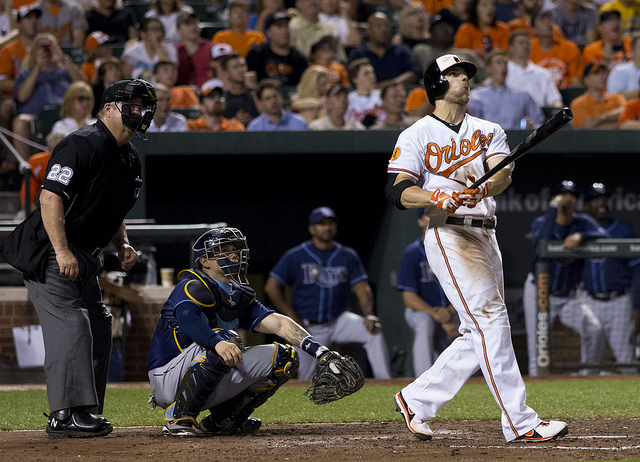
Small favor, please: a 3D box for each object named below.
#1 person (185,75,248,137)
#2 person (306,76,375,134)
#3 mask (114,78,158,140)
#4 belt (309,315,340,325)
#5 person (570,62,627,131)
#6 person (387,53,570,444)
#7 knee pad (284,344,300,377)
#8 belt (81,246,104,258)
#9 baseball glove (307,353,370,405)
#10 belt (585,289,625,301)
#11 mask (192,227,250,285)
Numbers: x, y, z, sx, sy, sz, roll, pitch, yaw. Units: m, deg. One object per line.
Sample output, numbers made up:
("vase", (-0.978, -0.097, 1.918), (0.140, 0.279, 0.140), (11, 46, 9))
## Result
("person", (-0.964, -1.197, 12.833), (0.759, 0.354, 0.302), (-3, -15, -8))
("person", (0.228, -1.210, 12.801), (0.334, 0.437, 0.753), (-1, 2, 42))
("mask", (-1.363, -0.927, 9.835), (0.285, 0.365, 0.064), (2, -4, -23))
("belt", (0.070, 0.895, 12.908), (0.272, 0.061, 0.048), (0, -4, -1))
("person", (3.154, -1.490, 14.513), (0.687, 0.809, 0.621), (1, -4, -17))
("person", (1.080, 0.113, 9.578), (1.089, 2.865, 0.442), (0, -4, 1))
("knee pad", (-0.182, 0.981, 9.866), (0.105, 0.246, 0.207), (0, -4, 1))
("belt", (-1.684, 0.163, 9.869), (0.087, 0.080, 0.208), (-1, -4, 15))
("baseball glove", (0.118, 1.121, 9.908), (0.470, 0.339, 0.240), (-37, 11, 20))
("belt", (2.720, 0.610, 12.315), (0.364, 0.100, 0.063), (1, -4, -15))
("mask", (-0.731, 0.170, 9.954), (0.451, 0.407, 0.373), (-6, 0, 40))
